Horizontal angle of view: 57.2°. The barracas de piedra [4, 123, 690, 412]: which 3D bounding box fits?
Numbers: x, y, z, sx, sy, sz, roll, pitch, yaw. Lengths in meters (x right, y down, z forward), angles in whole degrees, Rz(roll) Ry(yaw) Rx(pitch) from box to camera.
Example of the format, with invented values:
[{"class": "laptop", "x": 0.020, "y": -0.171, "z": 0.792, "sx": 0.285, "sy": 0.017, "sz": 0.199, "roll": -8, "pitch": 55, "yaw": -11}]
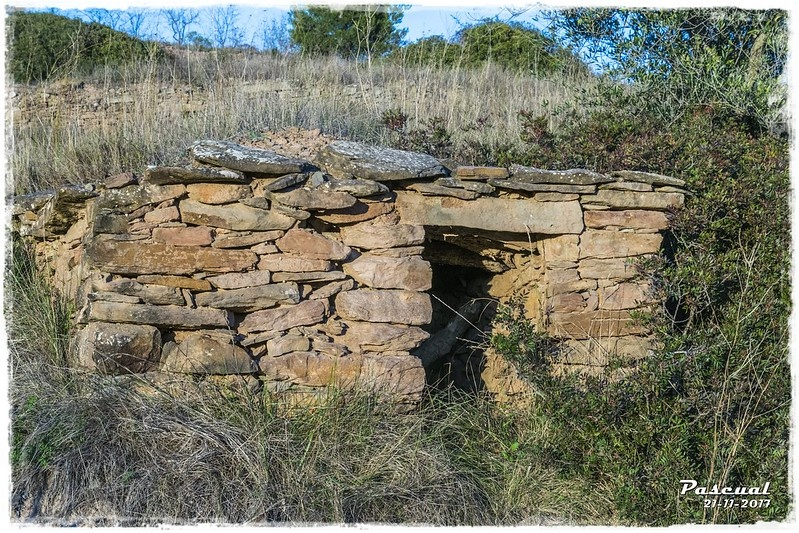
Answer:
[{"class": "barracas de piedra", "x": -0.462, "y": -0.043, "z": 6.389, "sx": 5.162, "sy": 2.055, "sz": 1.441, "roll": 0, "pitch": 11, "yaw": -13}]
